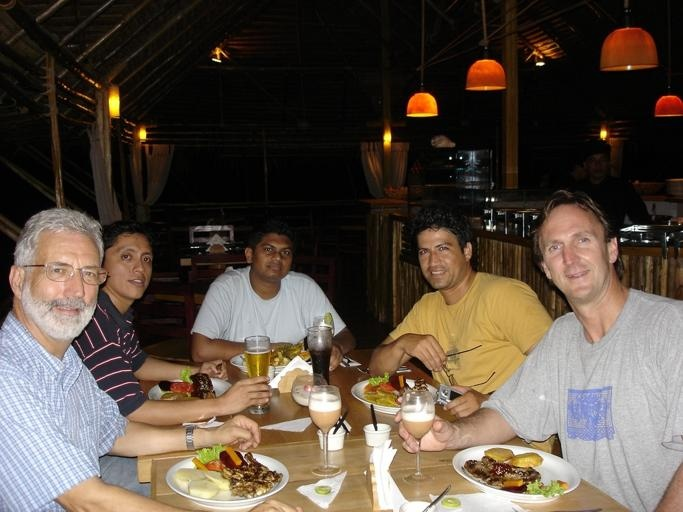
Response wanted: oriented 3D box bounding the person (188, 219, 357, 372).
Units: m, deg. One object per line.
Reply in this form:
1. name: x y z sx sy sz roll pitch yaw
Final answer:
1. person: -0.441 0.304 3.335 1.079 0.993 0.804 1 4 -19

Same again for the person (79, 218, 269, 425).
1. person: -0.790 0.247 2.512 0.988 0.701 0.862 -5 13 -14

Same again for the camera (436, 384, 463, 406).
1. camera: 0.483 0.627 2.350 0.092 0.024 0.066 1 39 8

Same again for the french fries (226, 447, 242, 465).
1. french fries: -0.364 0.684 1.775 0.032 0.025 0.093 -2 14 -25

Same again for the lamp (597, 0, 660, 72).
1. lamp: 2.622 -2.034 4.681 0.469 0.714 0.386 4 -3 -43

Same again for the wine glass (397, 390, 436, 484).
1. wine glass: 0.264 0.599 1.813 0.132 0.281 0.251 2 -2 7

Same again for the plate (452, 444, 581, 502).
1. plate: 0.574 0.719 1.719 0.395 0.093 0.288 0 -3 24

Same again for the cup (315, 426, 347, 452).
1. cup: -0.036 0.676 1.951 0.098 0.052 0.097 0 -3 0

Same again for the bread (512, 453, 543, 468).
1. bread: 0.641 0.692 1.777 0.059 0.014 0.056 -1 1 -3

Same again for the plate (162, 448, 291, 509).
1. plate: -0.373 0.735 1.701 0.396 0.079 0.305 3 -3 -17
